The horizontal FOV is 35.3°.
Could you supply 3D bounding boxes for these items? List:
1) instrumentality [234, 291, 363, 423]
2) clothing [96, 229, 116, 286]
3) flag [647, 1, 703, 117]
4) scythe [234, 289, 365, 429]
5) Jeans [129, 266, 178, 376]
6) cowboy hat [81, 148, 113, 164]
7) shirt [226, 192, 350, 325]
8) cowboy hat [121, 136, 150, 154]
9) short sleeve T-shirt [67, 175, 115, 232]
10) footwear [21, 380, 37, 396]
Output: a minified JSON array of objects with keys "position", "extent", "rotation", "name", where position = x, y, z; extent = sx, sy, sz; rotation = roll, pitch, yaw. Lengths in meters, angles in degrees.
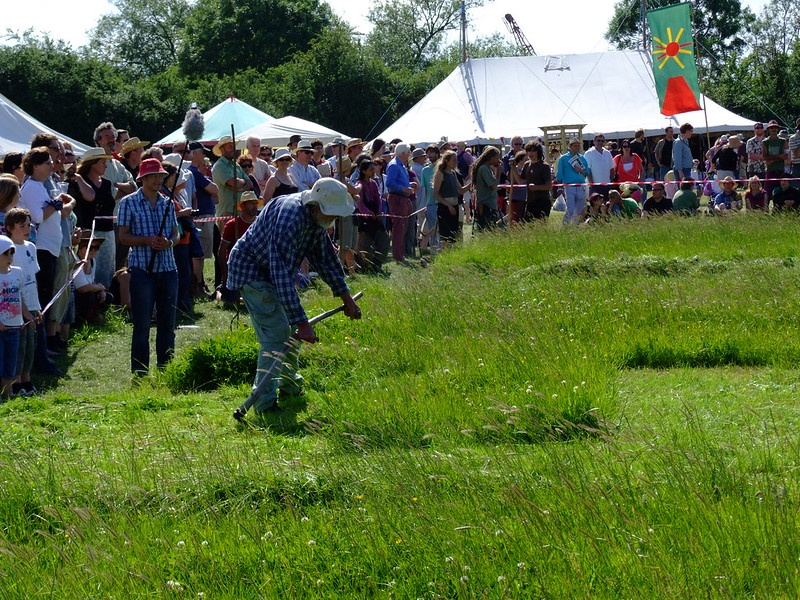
[{"position":[-1.090,0.635,13.415],"extent":[0.334,0.277,2.465],"rotation":[25,32,17],"name":"instrumentality"},{"position":[-4.096,-0.561,17.381],"extent":[0.200,0.734,0.327],"rotation":[-2,20,-20],"name":"clothing"},{"position":[5.837,-5.231,26.844],"extent":[1.052,2.312,1.348],"rotation":[0,1,15],"name":"flag"},{"position":[-1.078,0.655,13.356],"extent":[0.263,0.241,2.002],"rotation":[26,45,20],"name":"scythe"},{"position":[-2.888,0.186,14.720],"extent":[0.514,1.524,0.394],"rotation":[-1,14,-22],"name":"Jeans"},{"position":[-3.927,-1.928,16.432],"extent":[0.227,0.098,0.272],"rotation":[-13,4,45],"name":"cowboy hat"},{"position":[-1.094,-0.475,12.760],"extent":[1.169,1.252,1.230],"rotation":[-2,18,-12],"name":"shirt"},{"position":[-3.839,-2.292,18.190],"extent":[0.356,0.143,0.344],"rotation":[-25,4,-16],"name":"cowboy hat"},{"position":[-4.003,-1.378,17.014],"extent":[0.468,0.705,0.376],"rotation":[-11,4,5],"name":"short sleeve T-shirt"},{"position":[-4.097,0.964,13.933],"extent":[0.177,0.198,0.086],"rotation":[-8,-5,40],"name":"footwear"}]
